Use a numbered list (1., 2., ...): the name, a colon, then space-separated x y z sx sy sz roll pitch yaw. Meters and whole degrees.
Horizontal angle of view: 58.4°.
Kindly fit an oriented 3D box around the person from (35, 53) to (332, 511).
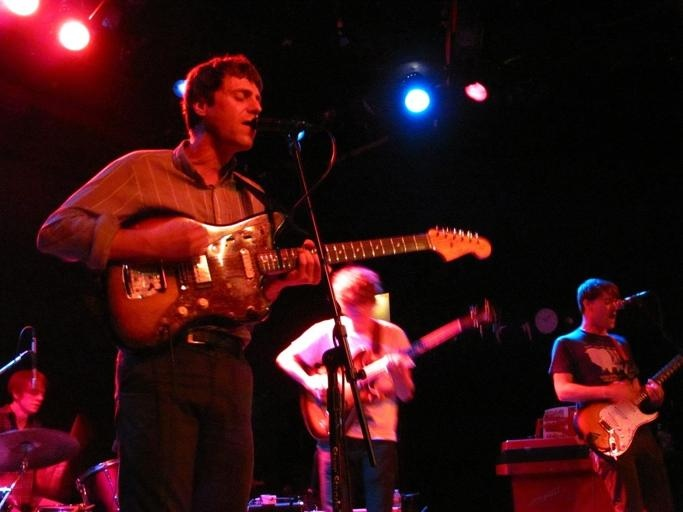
1. person: -0.886 -0.001 3.581 1.422 2.637 0.890 29 -42 -35

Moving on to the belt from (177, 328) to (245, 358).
1. belt: -0.716 0.480 3.445 0.240 0.095 0.181 8 -11 -6

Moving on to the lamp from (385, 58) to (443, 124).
1. lamp: 0.821 -2.051 7.134 0.610 0.721 0.236 -17 -76 -12

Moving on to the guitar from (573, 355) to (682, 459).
1. guitar: 2.762 1.486 5.933 1.326 0.470 0.184 -41 -19 -10
